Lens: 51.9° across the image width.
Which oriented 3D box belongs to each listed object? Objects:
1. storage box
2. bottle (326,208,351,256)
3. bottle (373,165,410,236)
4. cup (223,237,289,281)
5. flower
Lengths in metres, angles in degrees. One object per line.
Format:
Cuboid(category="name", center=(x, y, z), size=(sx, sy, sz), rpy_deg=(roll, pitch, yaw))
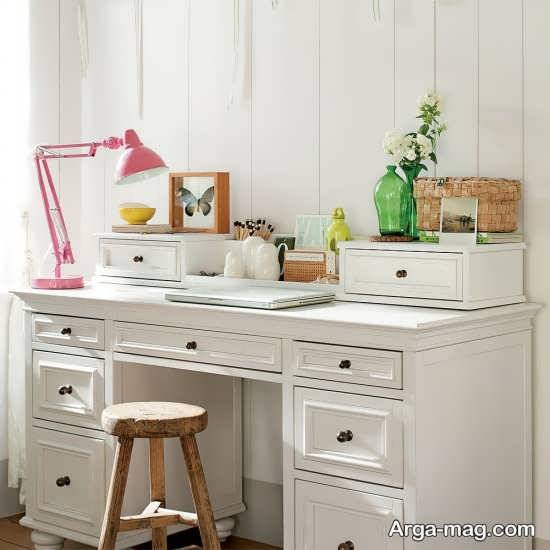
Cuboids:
Cuboid(category="storage box", center=(0.532, -0.192, 1.553), size=(0.296, 0.152, 0.195), rpy_deg=(1, 6, 14))
Cuboid(category="bottle", center=(0.206, -0.145, 1.861), size=(0.073, 0.150, 0.077), rpy_deg=(0, 21, 0))
Cuboid(category="bottle", center=(0.354, -0.227, 1.728), size=(0.130, 0.208, 0.137), rpy_deg=(-3, 3, 0))
Cuboid(category="cup", center=(-0.070, -0.061, 2.013), size=(0.170, 0.130, 0.166), rpy_deg=(1, 5, 0))
Cuboid(category="flower", center=(0.425, -0.446, 1.725), size=(0.178, 0.239, 0.193), rpy_deg=(2, 6, 17))
